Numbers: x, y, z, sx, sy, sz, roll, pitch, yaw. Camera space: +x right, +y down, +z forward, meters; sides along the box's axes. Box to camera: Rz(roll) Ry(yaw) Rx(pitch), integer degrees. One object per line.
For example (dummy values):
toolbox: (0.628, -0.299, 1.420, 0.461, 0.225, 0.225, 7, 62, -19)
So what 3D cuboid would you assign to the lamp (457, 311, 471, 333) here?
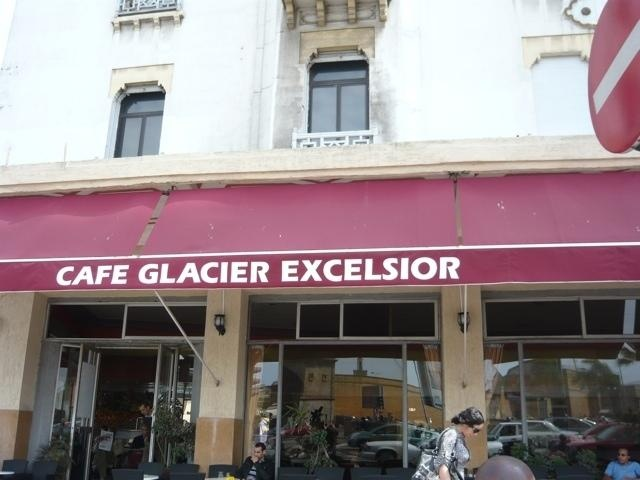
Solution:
lamp: (3.017, 1.683, 12.821, 0.281, 0.480, 0.478, -6, -23, 16)

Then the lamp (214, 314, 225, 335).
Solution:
lamp: (-2.239, 1.845, 13.584, 0.249, 0.451, 0.414, 1, -22, -1)

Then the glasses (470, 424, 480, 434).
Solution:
glasses: (2.135, 2.576, 8.384, 0.132, 0.037, 0.125, 3, -28, 18)
